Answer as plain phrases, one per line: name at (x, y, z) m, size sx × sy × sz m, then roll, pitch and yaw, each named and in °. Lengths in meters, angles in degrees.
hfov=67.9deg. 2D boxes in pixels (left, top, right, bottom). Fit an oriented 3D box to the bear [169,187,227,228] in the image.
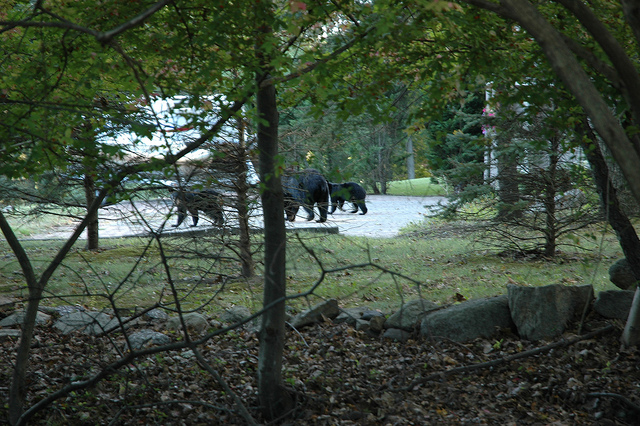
bear at (-2.635, -0.087, 9.717) m, size 0.593 × 0.794 × 1.684 m, roll -17°, pitch 8°, yaw -43°
